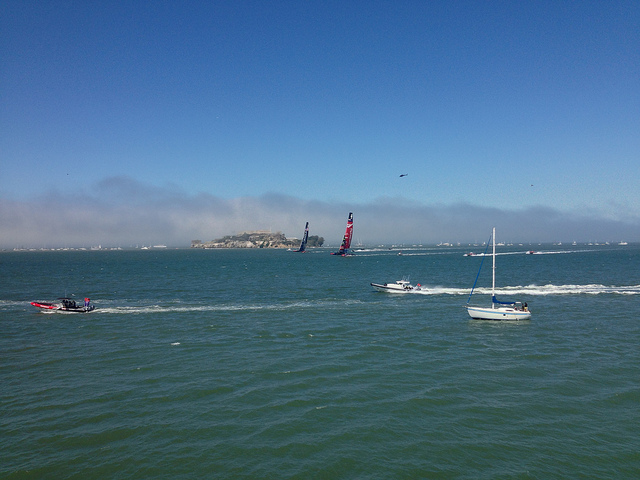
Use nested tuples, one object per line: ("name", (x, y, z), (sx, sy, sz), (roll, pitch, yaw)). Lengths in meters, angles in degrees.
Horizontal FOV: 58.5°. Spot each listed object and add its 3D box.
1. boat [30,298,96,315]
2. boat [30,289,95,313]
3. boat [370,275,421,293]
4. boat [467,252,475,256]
("boat", (-35.735, 9.199, 80.955), (8.124, 2.099, 3.268), (3, 0, 20))
("boat", (-36.533, 9.500, 80.892), (8.579, 2.098, 3.344), (3, -8, 7))
("boat", (13.173, 7.631, 98.024), (7.859, 2.880, 2.579), (0, 1, -7))
("boat", (72.751, 6.997, 273.953), (1.843, 2.043, 6.010), (-4, 6, -5))
